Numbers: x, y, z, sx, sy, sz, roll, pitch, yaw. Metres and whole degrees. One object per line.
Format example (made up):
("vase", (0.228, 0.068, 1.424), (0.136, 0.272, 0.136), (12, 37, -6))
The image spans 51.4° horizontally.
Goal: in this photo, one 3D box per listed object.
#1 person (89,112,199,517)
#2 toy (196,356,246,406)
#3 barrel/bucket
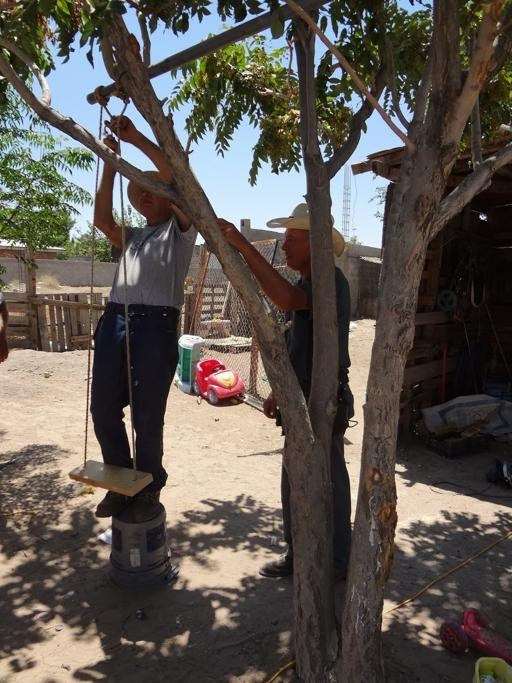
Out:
("person", (-0.620, -0.057, 2.710), (0.519, 1.814, 0.525), (3, -2, 20))
("toy", (-0.575, 0.615, 8.200), (0.515, 0.430, 0.797), (-9, 15, -31))
("barrel/bucket", (-0.586, 1.089, 3.001), (0.407, 0.415, 0.389), (0, 11, 0))
